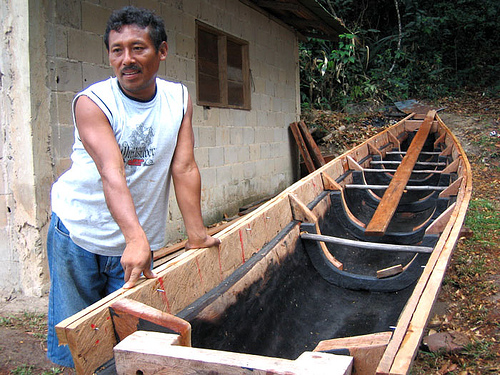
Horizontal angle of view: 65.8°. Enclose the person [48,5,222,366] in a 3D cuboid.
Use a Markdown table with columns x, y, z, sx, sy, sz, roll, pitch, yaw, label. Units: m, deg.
| x | y | z | sx | sy | sz | roll | pitch | yaw | label |
| --- | --- | --- | --- | --- | --- | --- | --- | --- | --- |
| -0.697 | 0.041 | 2.156 | 0.994 | 1.998 | 0.604 | 1 | 10 | -7 | person |
